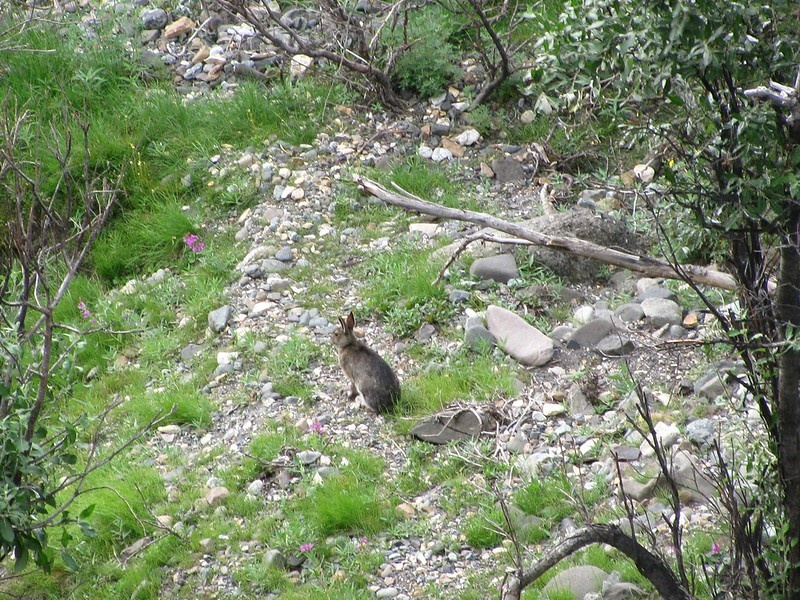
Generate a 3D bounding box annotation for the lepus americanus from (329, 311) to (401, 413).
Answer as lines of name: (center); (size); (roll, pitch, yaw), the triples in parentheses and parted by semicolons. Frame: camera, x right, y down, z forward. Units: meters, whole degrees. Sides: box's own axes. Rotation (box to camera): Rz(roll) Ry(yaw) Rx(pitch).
lepus americanus: (-0.342, 0.594, 10.599); (0.315, 0.907, 0.554); (-31, 23, -21)
